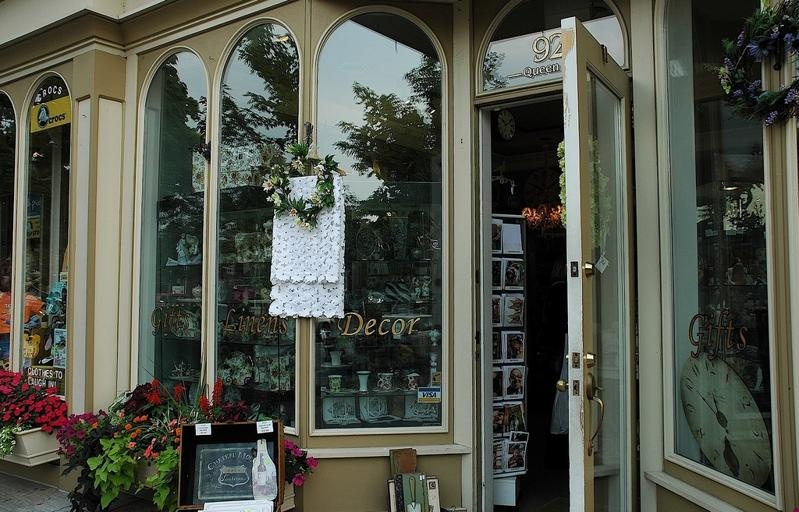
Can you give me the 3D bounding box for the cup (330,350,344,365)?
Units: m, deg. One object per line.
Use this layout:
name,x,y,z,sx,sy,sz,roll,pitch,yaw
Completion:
cup,-0.513,0.817,5.805,0.101,0.109,0.106,3,-4,0

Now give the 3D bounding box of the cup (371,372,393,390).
cup,-0.119,1.003,5.798,0.127,0.102,0.133,1,-10,0

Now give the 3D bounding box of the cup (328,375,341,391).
cup,-0.527,1.023,5.790,0.109,0.092,0.114,0,-8,0

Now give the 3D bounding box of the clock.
clock,2.298,1.143,4.972,0.087,0.859,0.839,-6,-13,-20

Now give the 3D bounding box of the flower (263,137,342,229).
flower,-0.783,-0.567,5.848,0.638,0.701,0.254,-18,-5,16

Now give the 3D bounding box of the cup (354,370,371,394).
cup,-0.289,1.003,5.799,0.129,0.170,0.136,2,0,0
